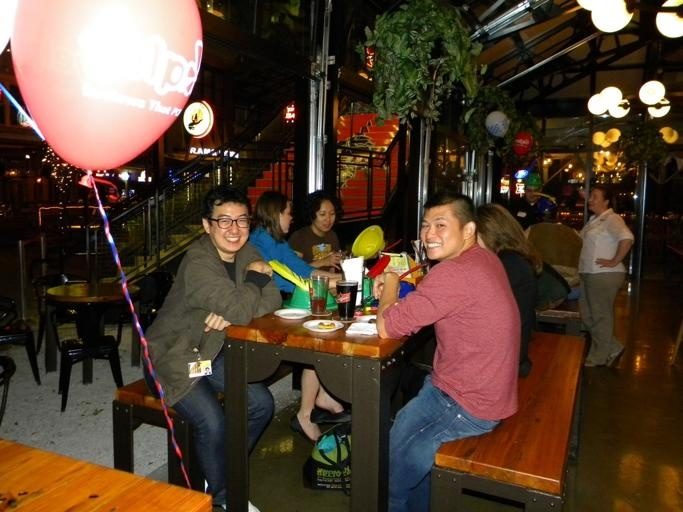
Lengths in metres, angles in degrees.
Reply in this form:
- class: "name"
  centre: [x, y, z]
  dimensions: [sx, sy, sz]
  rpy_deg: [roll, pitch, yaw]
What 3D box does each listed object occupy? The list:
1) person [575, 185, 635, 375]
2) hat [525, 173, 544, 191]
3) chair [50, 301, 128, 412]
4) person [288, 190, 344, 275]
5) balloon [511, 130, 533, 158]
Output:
- class: "person"
  centre: [2.522, 0.212, 4.829]
  dimensions: [0.437, 1.745, 0.353]
  rpy_deg: [2, 4, 26]
- class: "hat"
  centre: [2.819, -1.122, 7.347]
  dimensions: [0.220, 0.291, 0.297]
  rpy_deg: [9, 50, 15]
- class: "chair"
  centre: [-2.081, 0.805, 4.129]
  dimensions: [0.615, 0.872, 0.681]
  rpy_deg: [3, 6, 11]
- class: "person"
  centre: [-0.164, -0.173, 4.157]
  dimensions: [0.511, 0.737, 0.446]
  rpy_deg: [0, 2, -40]
- class: "balloon"
  centre: [2.933, -1.816, 8.135]
  dimensions: [0.374, 0.502, 0.379]
  rpy_deg: [1, 8, 10]
